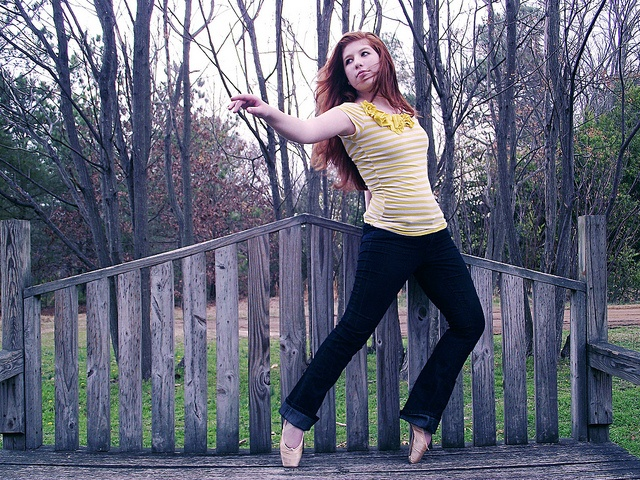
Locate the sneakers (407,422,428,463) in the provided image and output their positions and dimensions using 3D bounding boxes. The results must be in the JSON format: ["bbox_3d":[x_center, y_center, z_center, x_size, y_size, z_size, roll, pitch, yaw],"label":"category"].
[{"bbox_3d":[0.789,1.647,6.054,0.102,0.380,0.136,6,-9,26],"label":"sneakers"}]

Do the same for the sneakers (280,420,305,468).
[{"bbox_3d":[-0.228,1.751,6.161,0.152,0.130,0.551,9,-2,2],"label":"sneakers"}]
